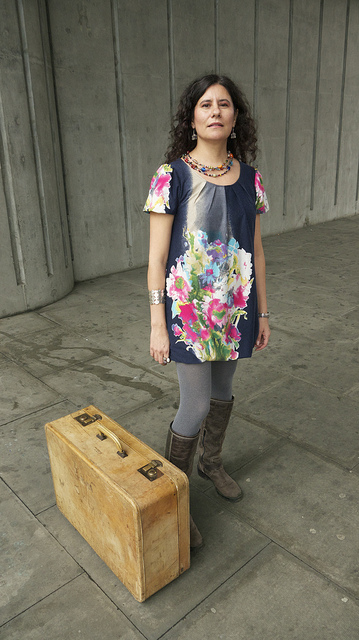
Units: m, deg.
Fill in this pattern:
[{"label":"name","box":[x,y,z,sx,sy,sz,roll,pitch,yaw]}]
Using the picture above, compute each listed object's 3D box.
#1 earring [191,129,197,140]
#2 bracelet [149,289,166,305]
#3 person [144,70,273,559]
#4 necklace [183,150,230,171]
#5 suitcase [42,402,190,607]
[{"label":"earring","box":[0.052,-0.664,1.677,0.018,0.032,0.019,0,1,28]},{"label":"bracelet","box":[-0.078,-0.083,1.661,0.046,0.048,0.049,16,22,24]},{"label":"person","box":[0.114,0.008,1.809,0.437,1.800,0.826,-1,9,11]},{"label":"necklace","box":[0.083,-0.528,1.643,0.112,0.106,0.006,29,-22,5]},{"label":"suitcase","box":[-0.255,0.638,1.776,0.606,0.521,0.251,21,31,39]}]
